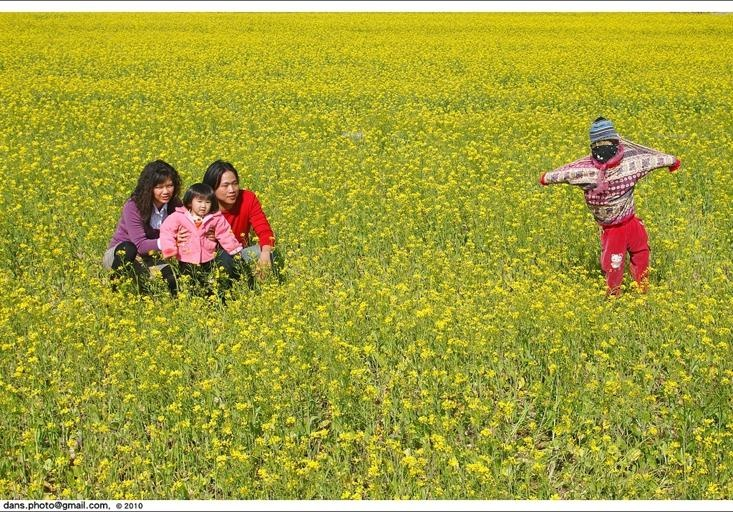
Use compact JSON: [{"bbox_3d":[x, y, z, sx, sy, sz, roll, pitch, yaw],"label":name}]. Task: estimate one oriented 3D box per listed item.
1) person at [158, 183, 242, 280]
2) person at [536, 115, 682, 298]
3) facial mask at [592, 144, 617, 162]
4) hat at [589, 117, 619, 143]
[{"bbox_3d":[-1.819,-0.124,7.185,0.860,1.254,0.519,1,21,-22],"label":"person"},{"bbox_3d":[2.575,-0.554,6.884,0.890,1.691,0.876,-25,30,-38],"label":"person"},{"bbox_3d":[2.445,-1.058,6.741,0.208,0.117,0.207,-7,-14,19],"label":"facial mask"},{"bbox_3d":[2.448,-1.311,6.868,0.300,0.258,0.229,-3,10,36],"label":"hat"}]
